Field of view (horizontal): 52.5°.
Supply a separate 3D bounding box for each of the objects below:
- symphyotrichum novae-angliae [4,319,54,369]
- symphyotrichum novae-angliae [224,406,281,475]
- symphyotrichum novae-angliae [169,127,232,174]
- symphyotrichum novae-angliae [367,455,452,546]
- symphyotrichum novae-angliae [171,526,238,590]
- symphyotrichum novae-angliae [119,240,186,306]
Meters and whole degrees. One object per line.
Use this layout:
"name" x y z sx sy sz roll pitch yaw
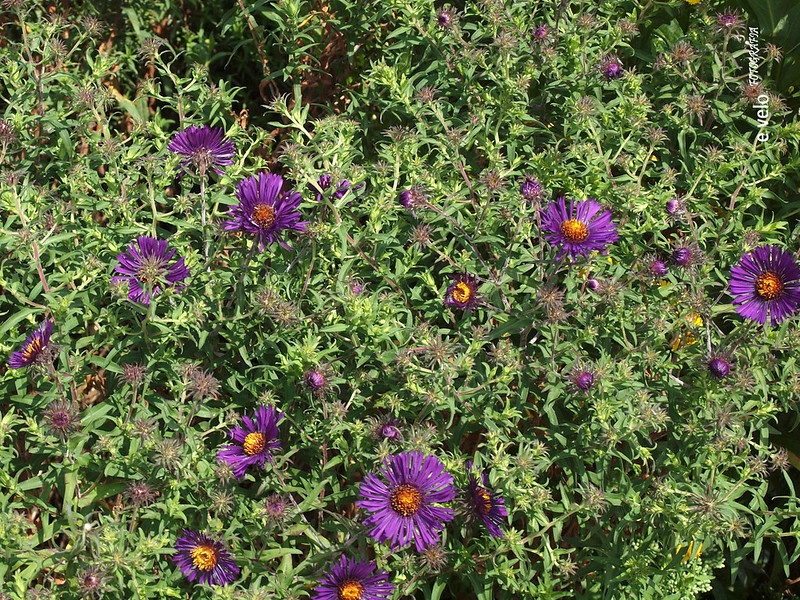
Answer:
"symphyotrichum novae-angliae" -1.244 0.143 2.744 0.077 0.168 0.167 46 32 7
"symphyotrichum novae-angliae" -0.517 0.487 2.770 0.224 0.306 0.214 -8 69 -16
"symphyotrichum novae-angliae" -0.712 -0.529 2.867 0.193 0.233 0.104 0 21 -3
"symphyotrichum novae-angliae" 0.020 0.633 2.561 0.300 0.199 0.283 7 67 -11
"symphyotrichum novae-angliae" -0.654 0.885 2.695 0.219 0.241 0.092 5 90 28
"symphyotrichum novae-angliae" -0.881 -0.119 2.753 0.209 0.099 0.251 -13 76 9
